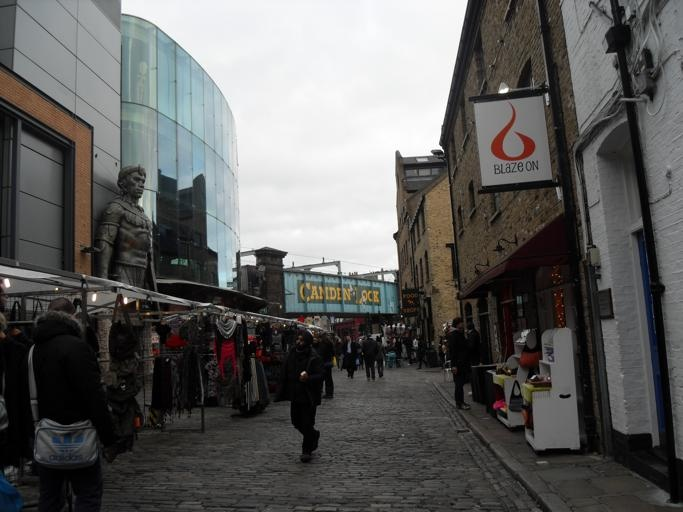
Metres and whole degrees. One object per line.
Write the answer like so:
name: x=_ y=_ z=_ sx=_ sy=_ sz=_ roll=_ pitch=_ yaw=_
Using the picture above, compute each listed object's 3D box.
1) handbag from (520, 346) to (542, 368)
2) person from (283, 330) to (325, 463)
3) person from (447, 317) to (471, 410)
handbag: x=3.187 y=1.685 z=9.865 sx=0.376 sy=0.446 sz=0.234 roll=2 pitch=-12 yaw=7
person: x=-0.567 y=2.185 z=9.457 sx=0.607 sy=1.975 sz=0.696 roll=2 pitch=-7 yaw=-26
person: x=2.835 y=2.476 z=14.014 sx=0.455 sy=2.039 sz=1.603 roll=-3 pitch=-7 yaw=11
